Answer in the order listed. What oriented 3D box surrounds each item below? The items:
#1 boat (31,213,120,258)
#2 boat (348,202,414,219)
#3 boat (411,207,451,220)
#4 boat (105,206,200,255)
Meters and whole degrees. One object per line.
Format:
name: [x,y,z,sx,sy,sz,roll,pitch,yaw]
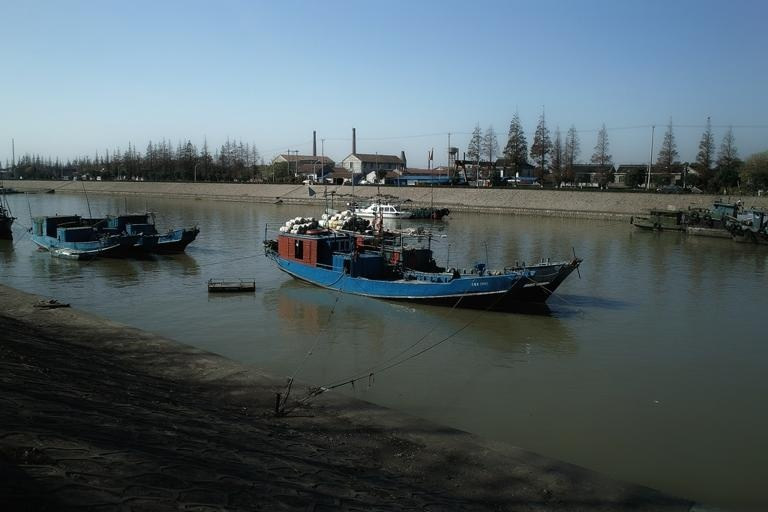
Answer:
boat: [-16.513,-1.028,38.340,2.553,2.054,6.028,-8,10,-38]
boat: [0.052,-3.539,57.041,5.657,1.528,2.193,-1,13,-4]
boat: [3.227,-3.434,59.295,4.322,1.008,1.141,1,13,21]
boat: [-13.036,-1.207,39.657,4.181,2.110,4.570,-6,8,-27]
